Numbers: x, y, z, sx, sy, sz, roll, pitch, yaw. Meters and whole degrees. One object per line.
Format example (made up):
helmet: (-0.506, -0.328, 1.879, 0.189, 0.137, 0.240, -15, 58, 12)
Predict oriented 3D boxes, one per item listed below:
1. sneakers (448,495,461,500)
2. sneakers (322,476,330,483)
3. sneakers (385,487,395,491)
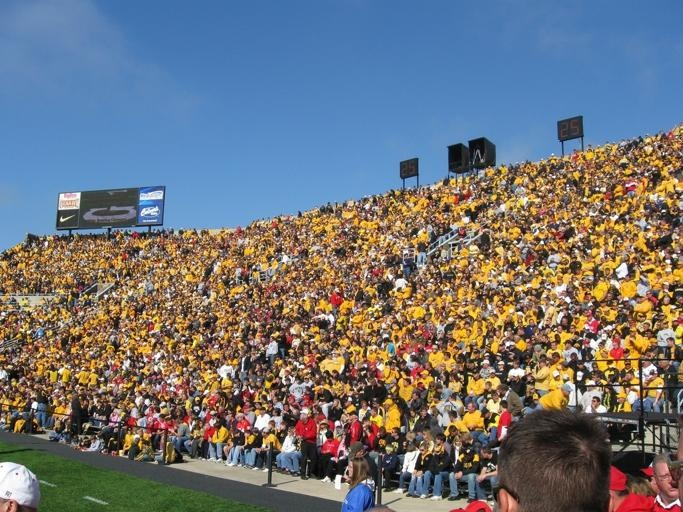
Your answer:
sneakers: (3.658, 7.873, 32.773, 0.365, 0.133, 0.190, 0, -14, 5)
sneakers: (-0.506, 7.763, 35.048, 0.365, 0.206, 0.177, -2, -14, 14)
sneakers: (1.640, 7.882, 34.070, 0.363, 0.159, 0.293, -1, -14, 10)
